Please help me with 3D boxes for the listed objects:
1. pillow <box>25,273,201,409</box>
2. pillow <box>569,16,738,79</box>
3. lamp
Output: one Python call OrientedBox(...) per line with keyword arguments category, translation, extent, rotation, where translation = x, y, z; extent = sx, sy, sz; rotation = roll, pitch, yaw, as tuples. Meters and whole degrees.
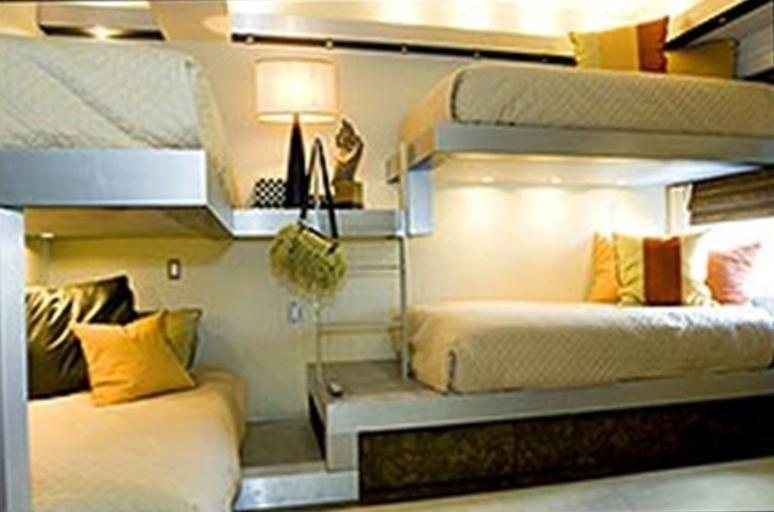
OrientedBox(category="pillow", translation=(-1.139, 0.311, 2.480), extent=(0.488, 0.448, 0.142), rotation=(2, -20, -37))
OrientedBox(category="pillow", translation=(0.942, -0.728, 2.341), extent=(0.369, 0.273, 0.099), rotation=(0, -16, 9))
OrientedBox(category="lamp", translation=(-0.397, -0.561, 2.946), extent=(0.355, 0.529, 0.348), rotation=(-7, 7, -42))
